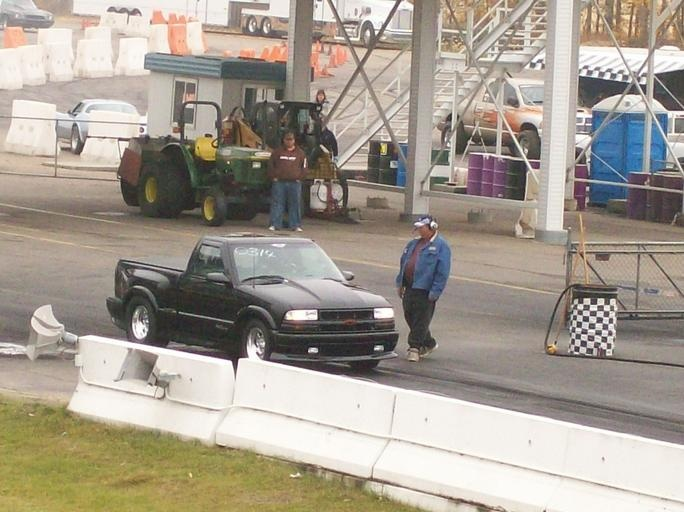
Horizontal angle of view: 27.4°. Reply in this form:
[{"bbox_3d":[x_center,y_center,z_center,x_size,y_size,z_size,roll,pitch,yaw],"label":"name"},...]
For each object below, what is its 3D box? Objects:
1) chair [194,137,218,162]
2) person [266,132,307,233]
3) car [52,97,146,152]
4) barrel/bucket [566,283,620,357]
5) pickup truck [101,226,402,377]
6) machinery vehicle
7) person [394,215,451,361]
[{"bbox_3d":[-3.066,-2.440,31.756,0.517,0.606,0.490,3,11,-5],"label":"chair"},{"bbox_3d":[-1.214,-1.613,30.839,0.743,2.213,0.641,2,6,-4],"label":"person"},{"bbox_3d":[-7.790,-4.426,44.970,2.318,2.078,2.181,-13,24,-39],"label":"car"},{"bbox_3d":[3.951,1.100,22.460,0.771,1.143,0.750,0,12,0],"label":"barrel/bucket"},{"bbox_3d":[-1.300,0.667,21.103,4.180,1.753,1.431,7,8,27],"label":"pickup truck"},{"bbox_3d":[-2.771,-2.309,32.424,2.272,2.977,5.116,3,6,29],"label":"machinery vehicle"},{"bbox_3d":[1.207,0.501,21.899,0.766,2.123,0.977,1,1,42],"label":"person"}]
